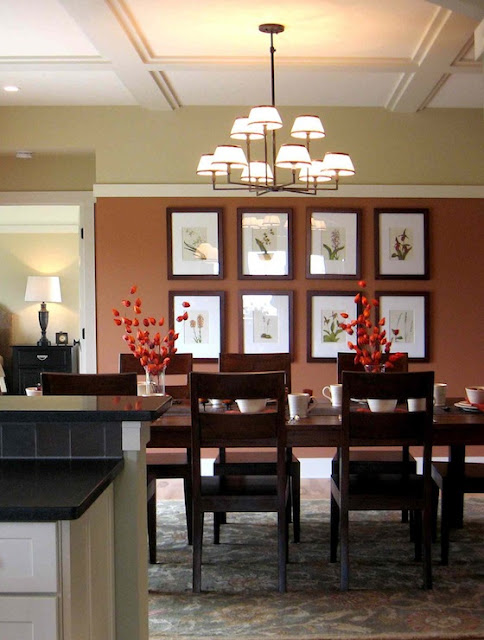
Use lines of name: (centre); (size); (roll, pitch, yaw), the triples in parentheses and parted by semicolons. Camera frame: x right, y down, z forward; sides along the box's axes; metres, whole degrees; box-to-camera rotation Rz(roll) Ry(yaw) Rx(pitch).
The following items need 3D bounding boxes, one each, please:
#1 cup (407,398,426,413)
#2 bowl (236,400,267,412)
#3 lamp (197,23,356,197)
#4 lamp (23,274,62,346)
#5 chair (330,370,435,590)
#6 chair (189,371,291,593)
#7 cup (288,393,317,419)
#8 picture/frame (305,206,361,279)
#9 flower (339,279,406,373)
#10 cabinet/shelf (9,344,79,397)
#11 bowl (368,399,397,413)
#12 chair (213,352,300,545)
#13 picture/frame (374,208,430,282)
cup: (0.768, 0.378, 2.792); (0.094, 0.062, 0.090); (0, 4, 0)
bowl: (0.041, 0.365, 2.707); (0.090, 0.050, 0.086); (1, -1, 0)
lamp: (0.175, -1.039, 3.157); (0.861, 0.724, 0.773); (1, 9, 6)
lamp: (-2.097, -0.133, 6.674); (0.386, 0.759, 0.818); (-1, 0, -18)
chair: (0.596, 0.661, 2.778); (0.474, 0.788, 0.717); (-1, 0, 16)
chair: (-0.019, 0.662, 2.695); (0.438, 0.849, 0.564); (-1, 0, 3)
cup: (0.262, 0.389, 2.883); (0.132, 0.089, 0.082); (-1, -4, -12)
picture/frame: (0.673, -0.581, 4.652); (0.589, 0.735, 0.049); (0, 0, 0)
flower: (0.619, 0.119, 2.984); (0.244, 0.385, 0.186); (-18, 11, -35)
cabinet/shelf: (-1.551, 0.361, 4.901); (0.514, 0.599, 0.340); (-1, -2, -3)
bowl: (0.615, 0.370, 2.762); (0.105, 0.044, 0.103); (0, -4, 0)
chair: (0.012, 0.639, 3.343); (0.441, 0.788, 0.480); (-3, 3, -2)
picture/frame: (1.188, -0.582, 4.660); (0.580, 0.683, 0.073); (0, 0, -1)
